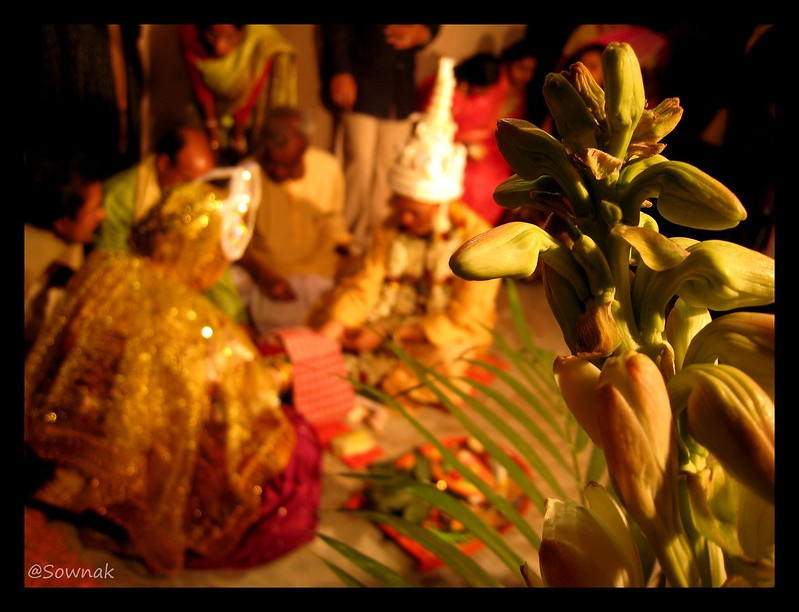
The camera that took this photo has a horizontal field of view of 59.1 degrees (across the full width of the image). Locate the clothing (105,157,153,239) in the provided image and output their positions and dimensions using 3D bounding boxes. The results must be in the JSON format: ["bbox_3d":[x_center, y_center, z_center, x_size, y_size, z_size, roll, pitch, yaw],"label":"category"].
[{"bbox_3d":[-0.463,-0.177,1.204,0.090,0.133,0.038,-8,35,-43],"label":"clothing"}]

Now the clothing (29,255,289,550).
[{"bbox_3d":[-0.428,0.107,1.294,0.483,0.459,0.324,15,20,-8],"label":"clothing"}]

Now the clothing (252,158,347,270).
[{"bbox_3d":[-0.162,-0.148,1.203,0.138,0.203,0.069,-2,10,-3],"label":"clothing"}]

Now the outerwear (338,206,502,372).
[{"bbox_3d":[0.010,0.022,1.225,0.233,0.081,0.229,-34,22,10],"label":"outerwear"}]

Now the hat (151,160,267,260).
[{"bbox_3d":[-0.333,-0.168,1.200,0.161,0.155,0.121,14,21,35],"label":"hat"}]

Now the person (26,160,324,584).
[{"bbox_3d":[-0.417,0.098,1.388,0.566,0.720,0.497,17,17,29],"label":"person"}]
